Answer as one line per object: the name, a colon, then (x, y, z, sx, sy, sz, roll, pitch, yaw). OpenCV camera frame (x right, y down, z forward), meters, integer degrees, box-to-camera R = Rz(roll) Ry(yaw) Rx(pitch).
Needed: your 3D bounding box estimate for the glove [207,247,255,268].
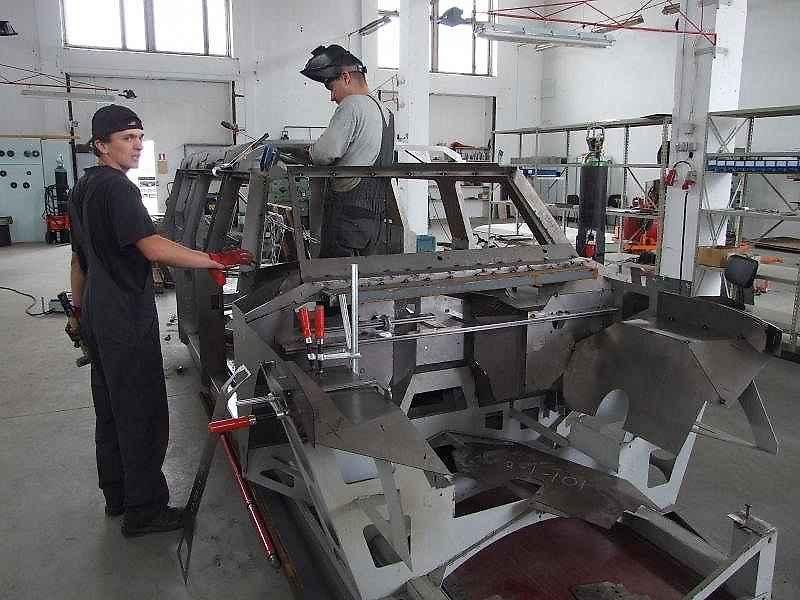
glove: (-0.885, -0.222, 2.947, 0.101, 0.052, 0.177, 21, 11, 40)

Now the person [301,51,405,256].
person: (-0.322, -0.961, 3.671, 0.559, 1.359, 0.677, -1, 15, -2)

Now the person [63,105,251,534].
person: (-1.413, 0.274, 2.979, 0.862, 1.910, 0.485, 5, 16, 20)

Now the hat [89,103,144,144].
hat: (-1.430, -0.888, 2.886, 0.235, 0.146, 0.180, -23, 31, -27)
